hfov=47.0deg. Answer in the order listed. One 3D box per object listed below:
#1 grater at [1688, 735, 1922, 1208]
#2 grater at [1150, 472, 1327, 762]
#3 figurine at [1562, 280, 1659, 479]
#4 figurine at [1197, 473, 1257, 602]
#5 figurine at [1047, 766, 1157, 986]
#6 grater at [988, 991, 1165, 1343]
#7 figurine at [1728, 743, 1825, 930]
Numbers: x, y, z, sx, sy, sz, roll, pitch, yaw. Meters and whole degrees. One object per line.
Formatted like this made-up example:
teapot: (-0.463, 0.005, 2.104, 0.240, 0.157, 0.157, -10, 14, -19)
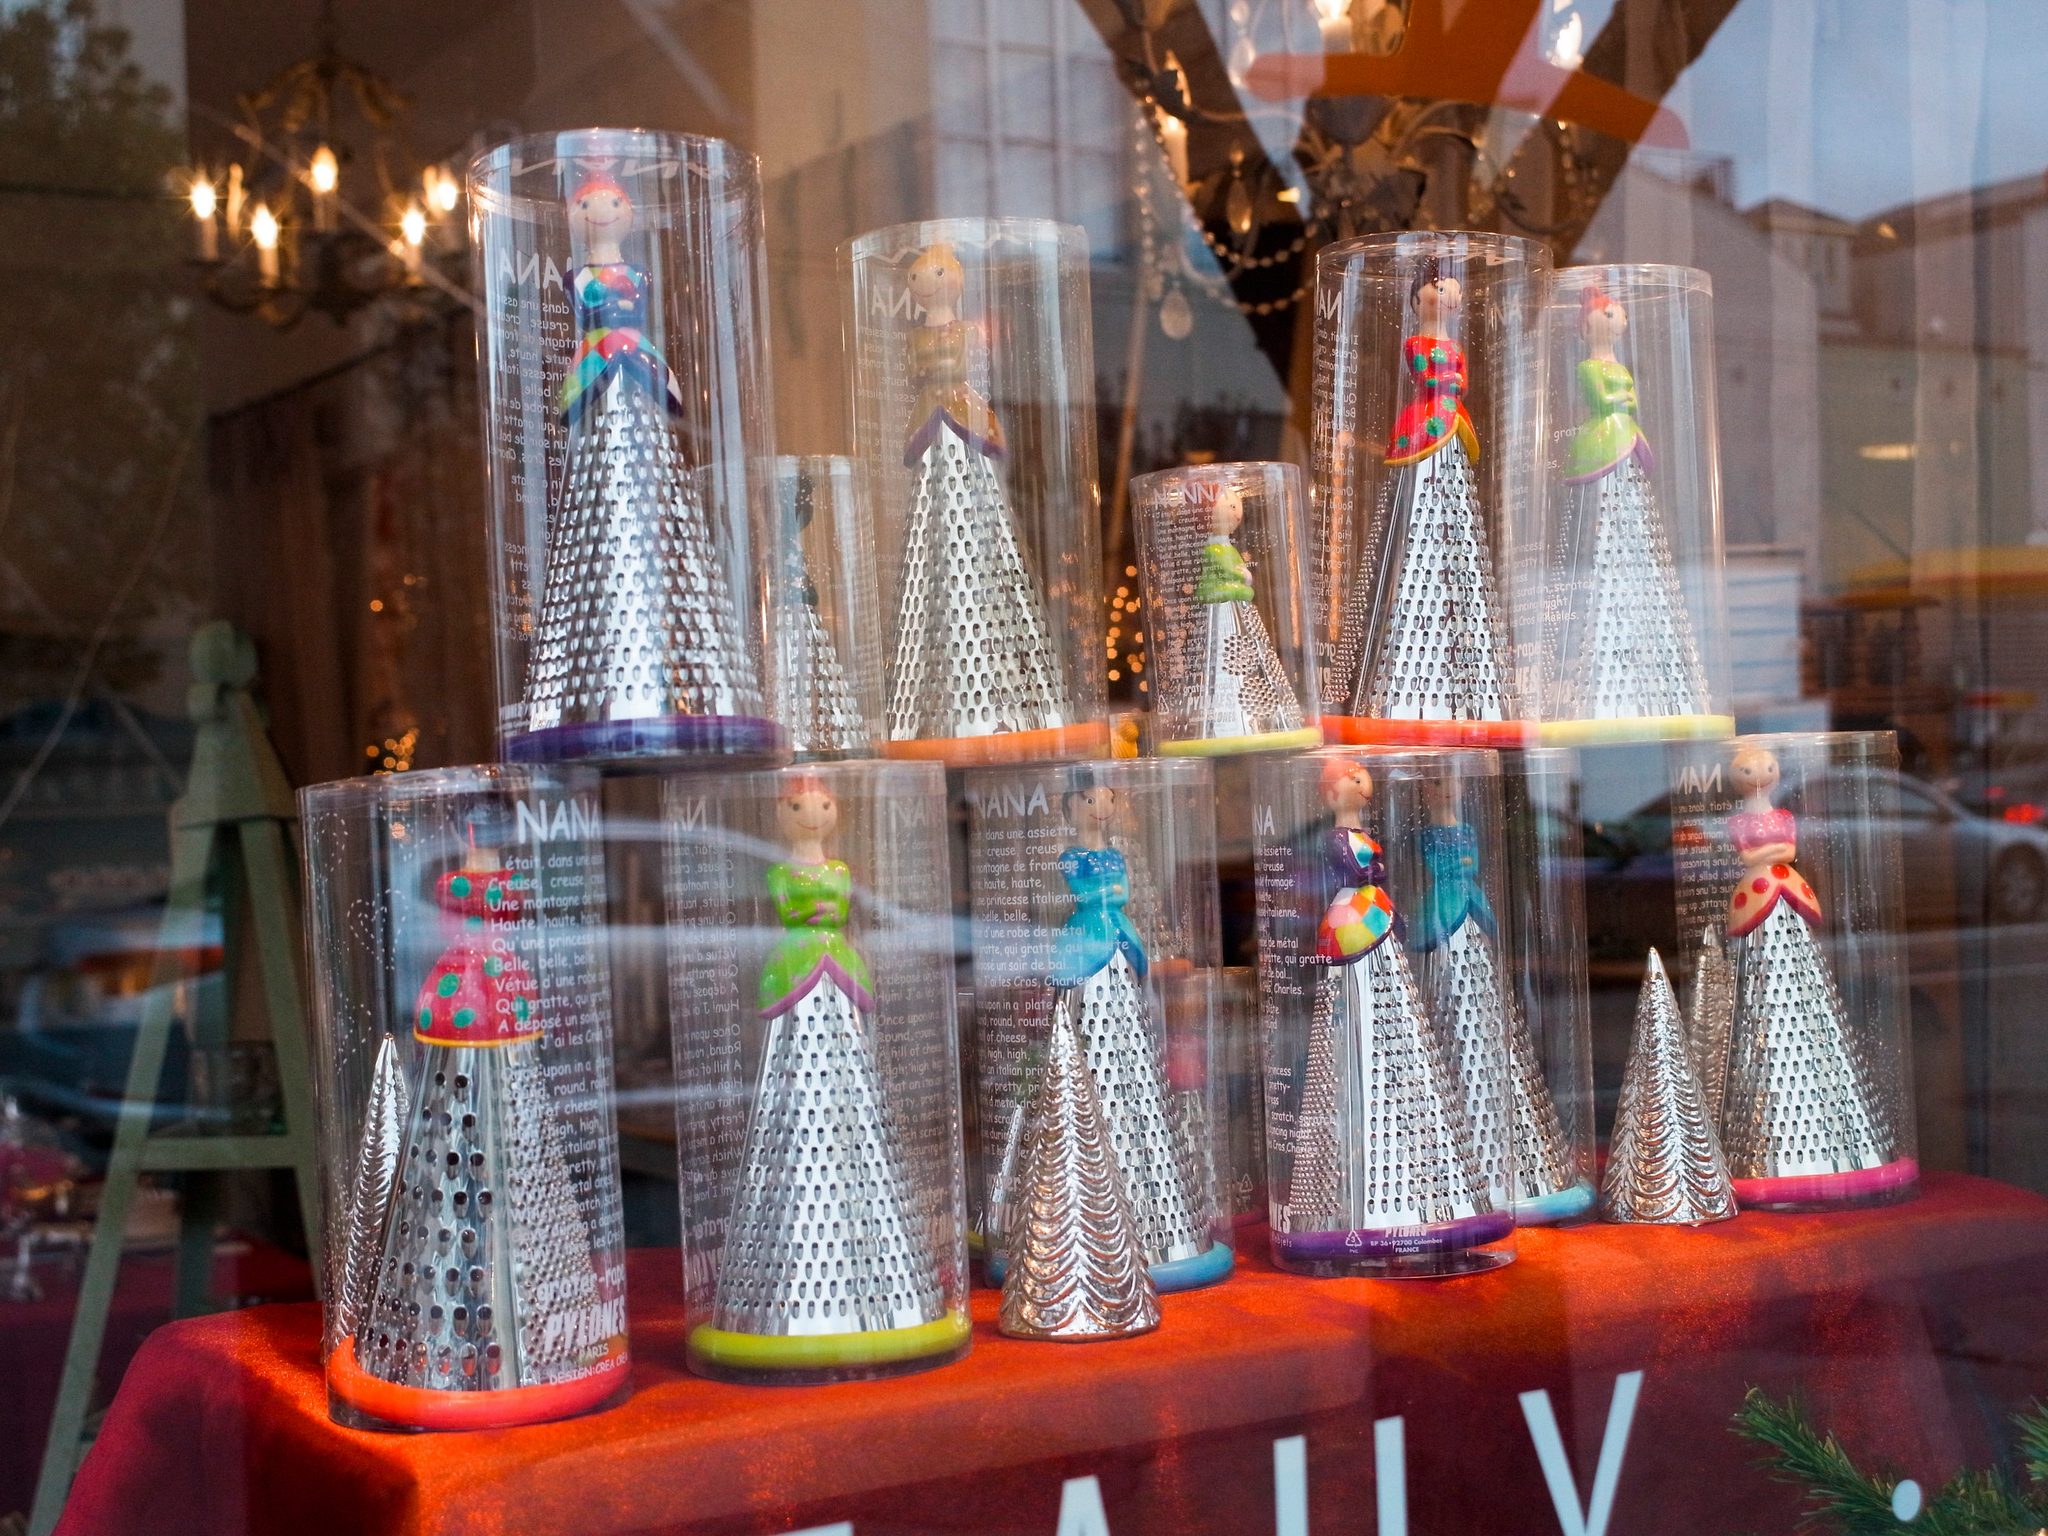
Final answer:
grater: (0.878, 0.252, 2.743, 0.237, 0.555, 0.274, -1, -15, -12)
grater: (0.210, -0.137, 2.593, 0.181, 0.342, 0.191, -1, -20, -1)
figurine: (0.635, -0.419, 2.570, 0.103, 0.173, 0.028, -4, 1, -16)
figurine: (0.212, -0.236, 2.512, 0.062, 0.115, 0.027, -4, 1, 7)
figurine: (0.074, 0.114, 2.376, 0.100, 0.196, 0.035, -5, 1, -33)
grater: (0.045, 0.400, 2.328, 0.156, 0.309, 0.079, -4, 1, 2)
figurine: (0.823, 0.082, 2.623, 0.082, 0.172, 0.023, -4, 1, -17)
